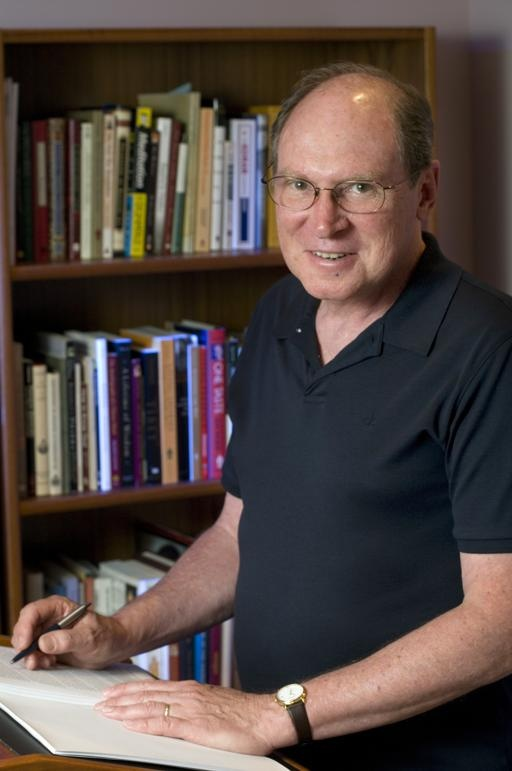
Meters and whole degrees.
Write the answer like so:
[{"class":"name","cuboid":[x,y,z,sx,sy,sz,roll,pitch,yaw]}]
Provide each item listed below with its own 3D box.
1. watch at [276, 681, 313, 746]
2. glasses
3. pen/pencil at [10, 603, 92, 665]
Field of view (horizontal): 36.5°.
[{"class":"watch","cuboid":[0.042,0.352,0.826,0.035,0.051,0.051,-18,16,-11]},{"class":"glasses","cuboid":[0.078,-0.249,1.023,0.232,0.050,0.108,12,13,44]},{"class":"pen/pencil","cuboid":[-0.247,0.303,0.939,0.141,0.016,0.016,-32,27,-35]}]
